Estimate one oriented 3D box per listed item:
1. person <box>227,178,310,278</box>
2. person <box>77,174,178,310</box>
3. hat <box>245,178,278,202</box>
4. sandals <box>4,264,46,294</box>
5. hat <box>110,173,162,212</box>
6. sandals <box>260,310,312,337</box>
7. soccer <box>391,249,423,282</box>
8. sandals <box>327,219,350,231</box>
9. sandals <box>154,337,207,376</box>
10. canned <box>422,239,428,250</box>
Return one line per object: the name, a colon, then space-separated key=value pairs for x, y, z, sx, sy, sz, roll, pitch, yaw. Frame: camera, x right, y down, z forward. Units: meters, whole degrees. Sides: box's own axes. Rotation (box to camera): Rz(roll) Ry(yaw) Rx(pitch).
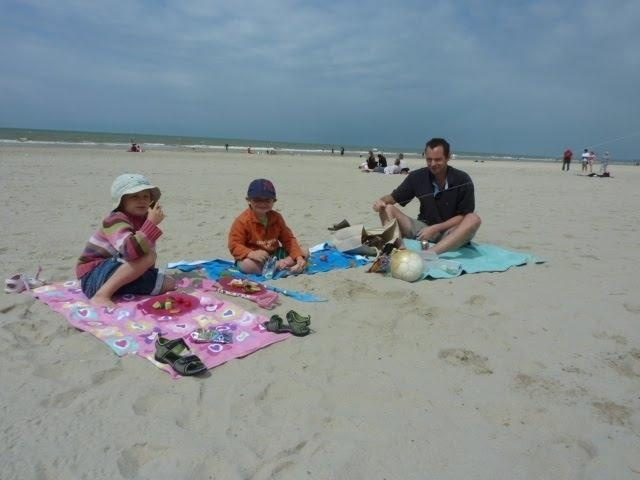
person: x=-0.557 y=-0.142 z=4.897 sx=0.990 sy=0.917 sz=0.702 roll=-7 pitch=18 yaw=-35
person: x=-1.644 y=-0.019 z=3.931 sx=0.750 sy=1.028 sz=0.489 roll=-7 pitch=15 yaw=-25
hat: x=-0.596 y=-0.506 z=4.759 sx=0.230 sy=0.126 sz=0.276 roll=1 pitch=1 yaw=-10
sandals: x=-2.580 y=0.347 z=4.160 sx=0.214 sy=0.156 sz=0.368 roll=8 pitch=14 yaw=27
hat: x=-1.649 y=-0.395 z=4.090 sx=0.349 sy=0.186 sz=0.416 roll=-5 pitch=-10 yaw=-40
sandals: x=-0.246 y=0.632 z=3.583 sx=0.326 sy=0.113 sz=0.181 roll=-3 pitch=7 yaw=-4
soccer: x=0.832 y=0.251 z=4.503 sx=0.333 sy=0.258 sz=0.285 roll=2 pitch=13 yaw=11
sandals: x=0.222 y=-0.193 z=6.076 sx=0.384 sy=0.138 sz=0.119 roll=2 pitch=30 yaw=42
sandals: x=-0.947 y=0.747 z=3.160 sx=0.452 sy=0.127 sz=0.196 roll=11 pitch=16 yaw=37
canned: x=1.185 y=0.052 z=5.275 sx=0.071 sy=0.095 sz=0.129 roll=3 pitch=13 yaw=14
